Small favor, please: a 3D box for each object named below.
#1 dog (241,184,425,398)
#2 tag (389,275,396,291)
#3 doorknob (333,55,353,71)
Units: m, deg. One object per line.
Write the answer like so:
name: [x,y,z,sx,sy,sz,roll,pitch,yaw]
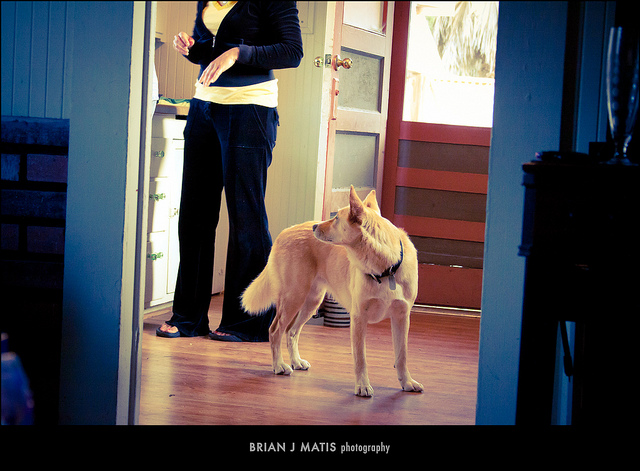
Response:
dog: [0.067,0.193,2.634,0.732,0.807,0.379,9,9,43]
tag: [0.268,0.174,2.385,0.027,0.055,0.013,2,6,-10]
doorknob: [0.126,-0.949,3.532,0.087,0.077,0.072,3,-10,17]
